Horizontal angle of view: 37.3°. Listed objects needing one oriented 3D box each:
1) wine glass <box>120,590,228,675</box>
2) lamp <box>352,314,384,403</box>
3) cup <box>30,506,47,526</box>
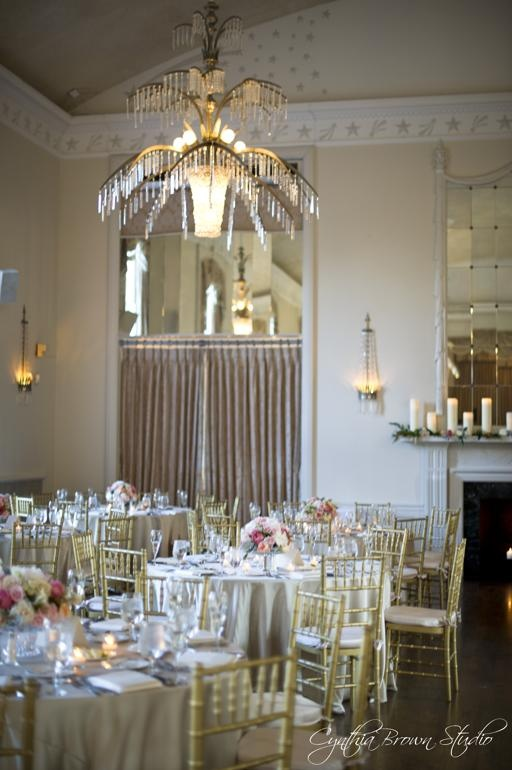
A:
[{"bbox_3d":[-0.293,0.899,2.771,0.257,0.136,0.392,0,0,-1],"label":"wine glass"},{"bbox_3d":[1.439,-0.292,9.876,0.387,1.261,0.142,0,-3,15],"label":"lamp"},{"bbox_3d":[-2.045,1.223,7.097,0.119,0.242,0.140,2,-15,-2],"label":"cup"}]
